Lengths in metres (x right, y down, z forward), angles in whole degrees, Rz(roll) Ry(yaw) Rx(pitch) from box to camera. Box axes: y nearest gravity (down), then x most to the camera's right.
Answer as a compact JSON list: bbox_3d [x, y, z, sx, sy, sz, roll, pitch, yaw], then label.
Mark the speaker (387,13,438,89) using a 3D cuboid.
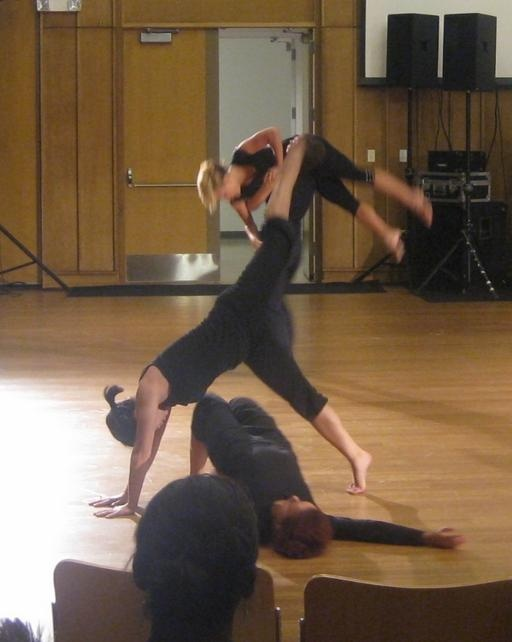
[{"bbox_3d":[1.344,-2.310,7.279,0.387,0.797,0.419,-11,19,-32],"label":"speaker"}]
